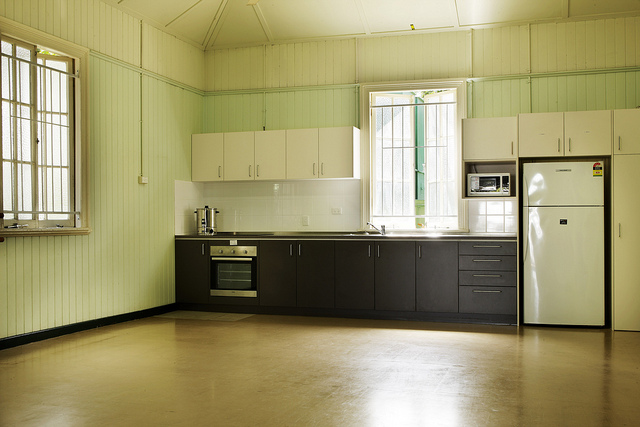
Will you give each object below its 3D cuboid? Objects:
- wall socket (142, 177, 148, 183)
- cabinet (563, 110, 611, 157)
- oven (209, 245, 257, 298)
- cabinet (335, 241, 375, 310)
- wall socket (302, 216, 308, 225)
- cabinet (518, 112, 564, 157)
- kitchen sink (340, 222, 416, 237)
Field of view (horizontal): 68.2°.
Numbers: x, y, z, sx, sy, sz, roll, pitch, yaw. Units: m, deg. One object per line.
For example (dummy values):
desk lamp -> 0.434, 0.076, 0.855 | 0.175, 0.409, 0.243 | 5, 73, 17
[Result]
wall socket -> -2.627, -0.501, 7.073 | 0.060, 0.073, 0.112 | -3, -4, 21
cabinet -> 3.876, -1.149, 6.638 | 0.442, 0.628, 0.665 | -14, 13, -29
oven -> -1.291, 0.913, 7.810 | 1.016, 0.975, 0.750 | -1, -6, 10
cabinet -> 0.543, 0.709, 7.280 | 0.702, 1.051, 0.673 | -4, 28, -6
wall socket -> -0.256, 0.114, 7.946 | 0.089, 0.137, 0.011 | 0, 2, 13
cabinet -> 3.127, -1.115, 6.847 | 0.707, 0.622, 0.419 | -3, 4, 5
kitchen sink -> 0.928, 0.244, 7.286 | 0.918, 0.172, 0.828 | 0, 2, 7
